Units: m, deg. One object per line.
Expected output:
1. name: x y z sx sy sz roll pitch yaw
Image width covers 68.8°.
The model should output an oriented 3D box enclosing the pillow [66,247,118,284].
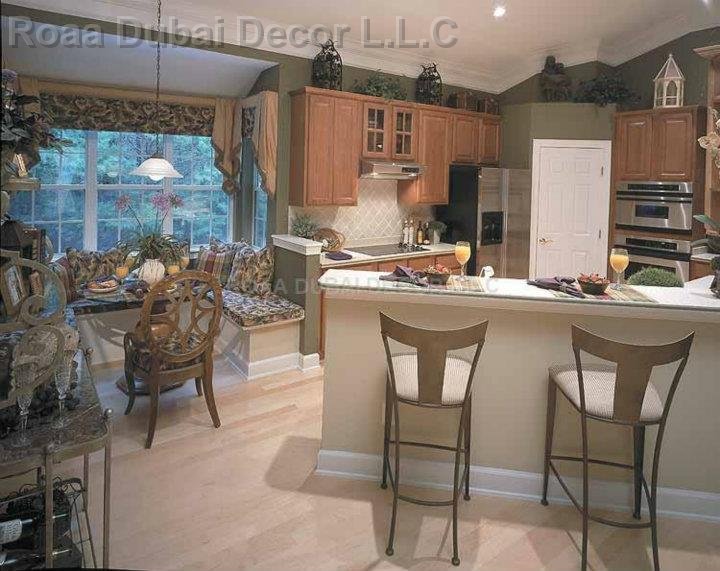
1. pillow: -2.576 -0.192 5.040 0.377 0.408 0.132 -9 -6 -38

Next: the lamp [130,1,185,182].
1. lamp: -1.869 -1.657 4.688 0.373 1.549 1.359 -4 16 -19

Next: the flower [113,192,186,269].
1. flower: -2.025 -0.478 5.062 0.580 0.898 0.627 -3 -5 -32

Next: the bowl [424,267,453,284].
1. bowl: 0.485 -0.068 3.233 0.102 0.075 0.103 1 4 0

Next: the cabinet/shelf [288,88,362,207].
1. cabinet/shelf: -0.368 -1.382 5.398 0.689 1.117 0.356 -7 19 -32

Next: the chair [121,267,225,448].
1. chair: -1.410 0.459 3.990 0.667 1.379 0.593 -7 24 -34

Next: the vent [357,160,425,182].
1. vent: 0.347 -1.229 5.697 0.801 0.228 0.233 -13 20 -41

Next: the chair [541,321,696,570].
1. chair: 1.327 0.785 2.844 0.677 1.225 0.819 8 16 26

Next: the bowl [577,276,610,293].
1. bowl: 1.372 -0.004 3.099 0.161 0.088 0.118 7 16 21

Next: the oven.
1. oven: 3.295 -0.422 6.033 0.750 1.500 0.462 6 -10 23

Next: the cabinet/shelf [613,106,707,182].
1. cabinet/shelf: 3.337 -1.537 5.771 0.383 1.027 1.018 -5 11 -30

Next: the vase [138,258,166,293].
1. vase: -1.681 -0.071 4.224 0.212 0.275 0.221 13 15 43

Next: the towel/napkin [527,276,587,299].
1. towel/napkin: 1.191 -0.007 3.209 0.314 0.045 0.394 5 16 15

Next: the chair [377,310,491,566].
1. chair: 0.384 0.726 2.962 0.552 1.229 0.808 3 15 8

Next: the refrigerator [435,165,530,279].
1. refrigerator: 1.691 -0.643 6.444 0.669 1.359 0.440 1 3 -8

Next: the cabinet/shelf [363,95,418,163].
1. cabinet/shelf: 0.296 -1.665 5.608 0.709 0.664 0.278 -4 9 -32
